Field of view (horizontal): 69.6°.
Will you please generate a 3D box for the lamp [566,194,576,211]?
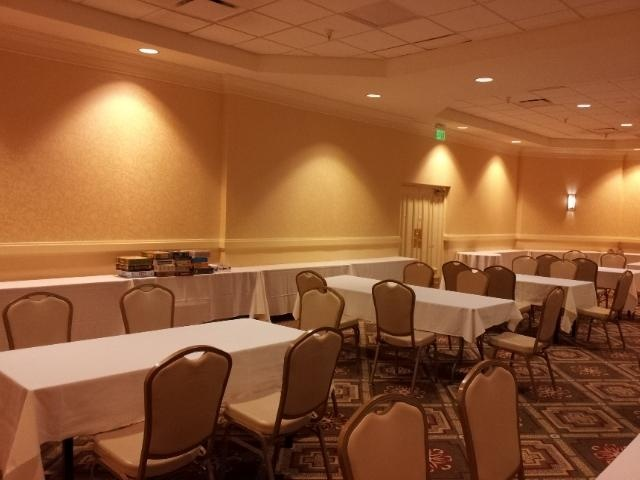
[{"bbox_3d":[7.191,-1.077,13.188,0.302,0.539,0.098,1,6,-8],"label":"lamp"}]
